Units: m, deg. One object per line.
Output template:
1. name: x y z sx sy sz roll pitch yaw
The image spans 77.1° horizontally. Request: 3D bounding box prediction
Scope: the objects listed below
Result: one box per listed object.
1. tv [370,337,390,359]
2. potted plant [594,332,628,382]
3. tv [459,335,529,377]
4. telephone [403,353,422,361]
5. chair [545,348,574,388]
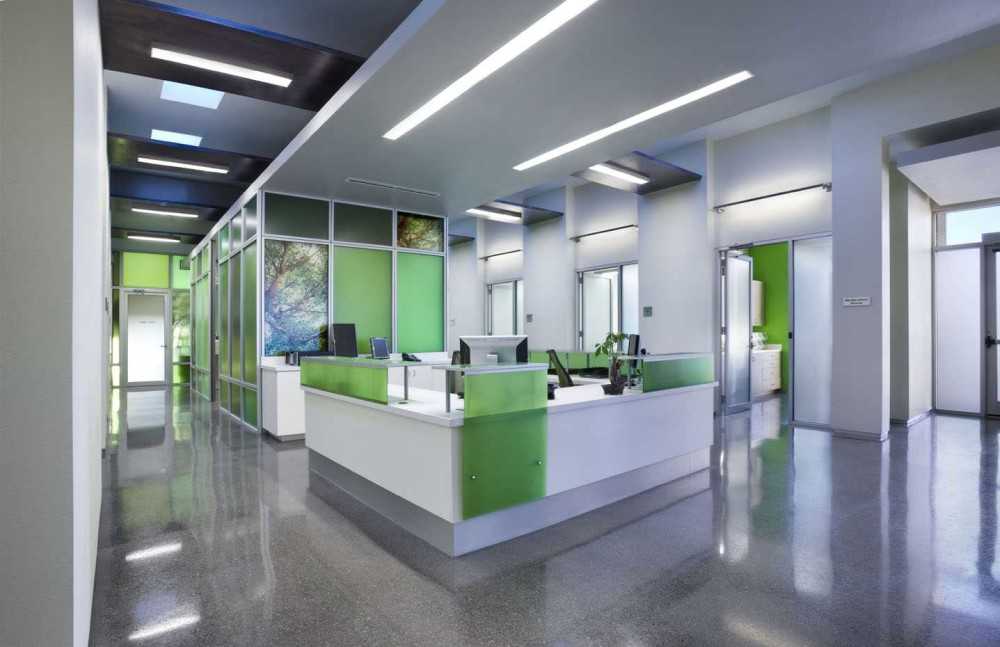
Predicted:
1. tv: -1.562 0.309 8.071 0.315 0.356 0.092 2 -5 -34
2. potted plant: 1.323 0.426 7.264 0.304 0.538 0.437 -16 -1 -21
3. tv: -0.043 0.276 6.263 0.734 0.336 0.367 -4 14 -14
4. telephone: -1.417 0.526 9.817 0.213 0.148 0.417 2 -8 -31
5. chair: 0.744 0.537 7.547 0.303 0.381 1.018 1 14 6
